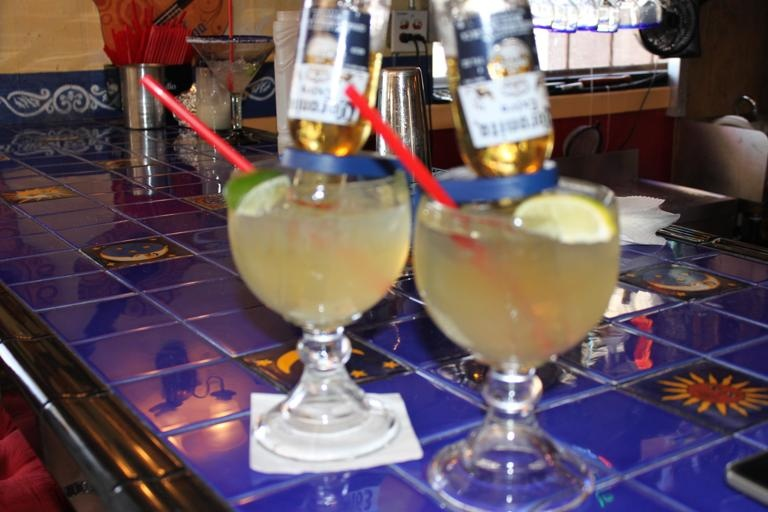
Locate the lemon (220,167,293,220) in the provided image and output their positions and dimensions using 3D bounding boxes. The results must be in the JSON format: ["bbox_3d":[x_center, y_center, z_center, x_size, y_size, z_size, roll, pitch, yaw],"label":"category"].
[{"bbox_3d":[-0.110,-0.058,0.489,0.057,0.034,0.041,-6,20,-2],"label":"lemon"}]

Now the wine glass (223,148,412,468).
[{"bbox_3d":[-0.058,0.050,0.544,0.180,0.255,0.171,-2,0,6],"label":"wine glass"}]

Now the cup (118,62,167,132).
[{"bbox_3d":[-0.988,-0.653,2.291,0.212,0.254,0.211,4,18,-1],"label":"cup"}]
